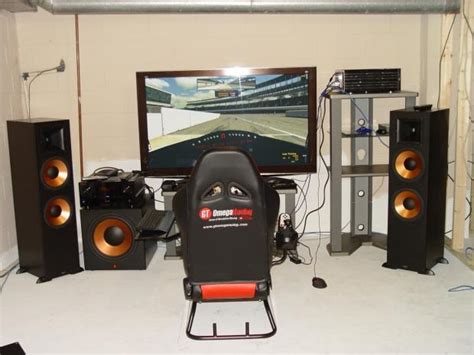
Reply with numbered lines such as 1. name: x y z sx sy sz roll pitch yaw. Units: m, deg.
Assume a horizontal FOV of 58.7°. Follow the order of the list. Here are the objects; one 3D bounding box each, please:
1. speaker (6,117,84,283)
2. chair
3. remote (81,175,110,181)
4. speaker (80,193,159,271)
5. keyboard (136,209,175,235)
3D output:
1. speaker: -1.717 0.195 3.658 0.574 1.385 0.265 1 9 11
2. chair: -0.046 0.370 2.888 0.686 1.147 0.776 -2 5 -14
3. remote: -1.271 0.001 3.777 0.220 0.029 0.127 -1 9 1
4. speaker: -1.098 0.513 4.039 0.553 0.584 0.621 0 4 1
5. keyboard: -0.613 0.331 3.201 0.219 0.053 0.227 -5 40 14
